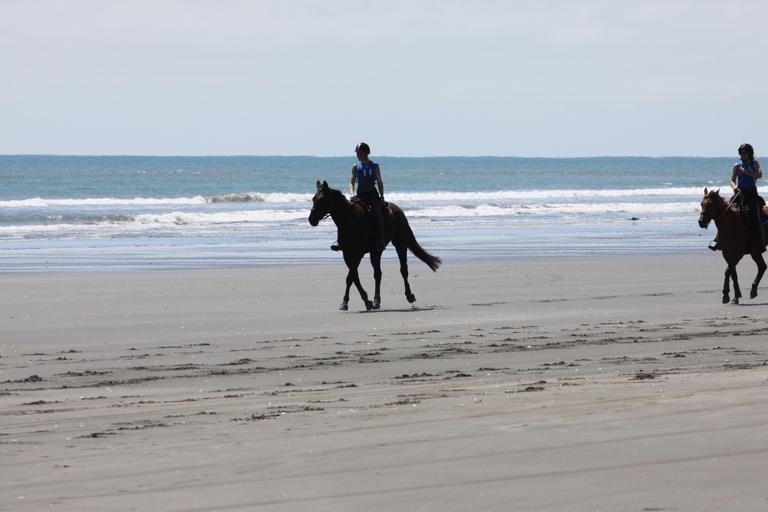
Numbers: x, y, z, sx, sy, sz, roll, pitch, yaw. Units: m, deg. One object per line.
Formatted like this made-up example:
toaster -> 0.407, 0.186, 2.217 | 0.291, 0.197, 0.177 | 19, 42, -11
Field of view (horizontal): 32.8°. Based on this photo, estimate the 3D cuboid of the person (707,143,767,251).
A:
person -> 6.445, -1.053, 23.239 | 0.550, 1.766, 0.804 | 0, 3, 14

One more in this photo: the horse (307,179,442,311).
horse -> -0.187, -0.120, 24.007 | 0.828, 2.170, 3.701 | -6, -4, 36
